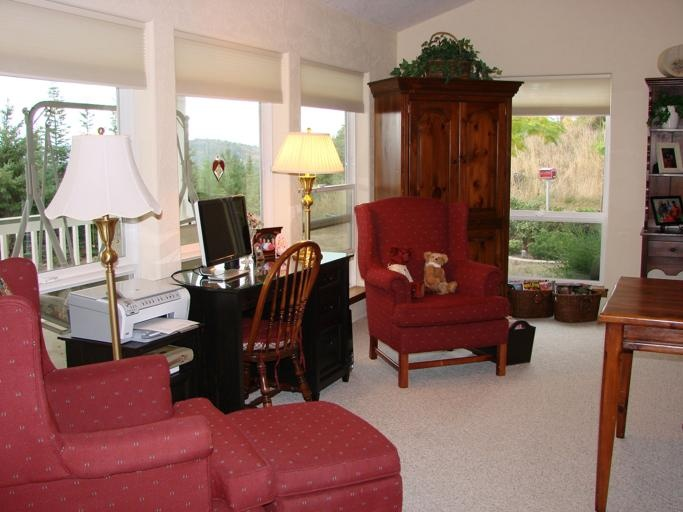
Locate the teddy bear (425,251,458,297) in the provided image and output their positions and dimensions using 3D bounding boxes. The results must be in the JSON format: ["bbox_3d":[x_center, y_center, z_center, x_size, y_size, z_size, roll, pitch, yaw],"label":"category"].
[{"bbox_3d":[0.784,0.134,4.257,0.347,0.336,0.197,4,3,-38],"label":"teddy bear"}]

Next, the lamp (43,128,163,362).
[{"bbox_3d":[-1.045,0.071,2.468,0.414,1.188,0.396,2,16,-5],"label":"lamp"}]

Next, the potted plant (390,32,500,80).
[{"bbox_3d":[0.979,-1.772,5.008,0.698,0.321,0.707,6,11,24],"label":"potted plant"}]

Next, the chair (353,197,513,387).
[{"bbox_3d":[0.684,0.215,4.172,1.028,1.239,0.916,-3,13,-13],"label":"chair"}]

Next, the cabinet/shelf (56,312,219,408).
[{"bbox_3d":[-1.056,0.506,2.880,0.476,0.521,0.547,4,11,23],"label":"cabinet/shelf"}]

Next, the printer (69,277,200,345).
[{"bbox_3d":[-1.081,0.287,2.868,0.415,0.275,0.480,9,10,24],"label":"printer"}]

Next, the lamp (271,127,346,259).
[{"bbox_3d":[-0.259,-0.499,3.944,0.470,0.816,0.864,-2,12,-7],"label":"lamp"}]

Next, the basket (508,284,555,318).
[{"bbox_3d":[1.872,0.440,5.372,0.384,0.256,0.309,1,1,3],"label":"basket"}]

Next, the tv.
[{"bbox_3d":[-0.743,-0.119,3.434,0.185,0.488,0.522,3,12,22],"label":"tv"}]

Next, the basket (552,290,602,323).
[{"bbox_3d":[2.294,0.483,5.303,0.396,0.250,0.282,-2,3,1],"label":"basket"}]

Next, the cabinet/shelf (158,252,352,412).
[{"bbox_3d":[-0.467,0.522,3.562,0.476,0.956,1.170,10,17,34],"label":"cabinet/shelf"}]
